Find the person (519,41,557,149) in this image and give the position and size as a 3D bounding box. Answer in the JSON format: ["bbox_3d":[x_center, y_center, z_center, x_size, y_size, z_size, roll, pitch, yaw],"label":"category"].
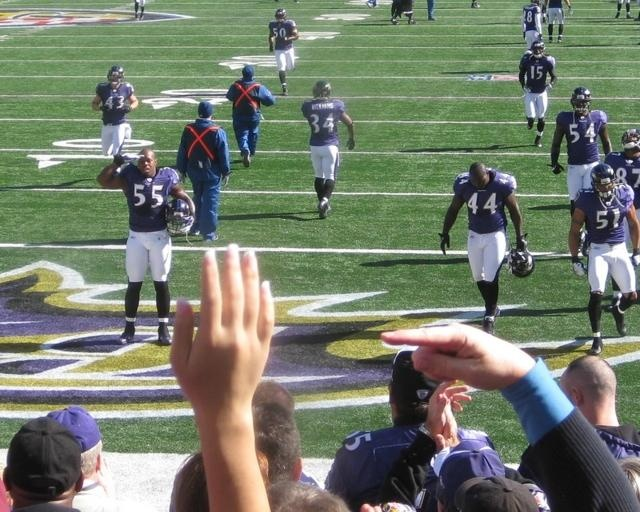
[{"bbox_3d":[3.806,-2.841,24.194,0.617,1.827,0.988,2,10,8],"label":"person"}]

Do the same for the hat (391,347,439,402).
[{"bbox_3d":[0.975,1.205,13.793,0.591,0.597,0.710,-3,1,-6],"label":"hat"}]

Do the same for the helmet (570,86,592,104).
[{"bbox_3d":[3.774,-2.312,20.009,0.252,0.231,0.307,7,14,19],"label":"helmet"}]

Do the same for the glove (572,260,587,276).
[{"bbox_3d":[3.328,0.164,17.615,0.096,0.146,0.197,-39,-8,-9],"label":"glove"}]

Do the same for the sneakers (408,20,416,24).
[{"bbox_3d":[2.587,-6.519,38.636,0.165,0.148,0.255,5,16,20],"label":"sneakers"}]

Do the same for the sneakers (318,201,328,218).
[{"bbox_3d":[0.071,-0.686,20.755,0.108,0.271,0.160,0,41,4],"label":"sneakers"}]

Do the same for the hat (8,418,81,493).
[{"bbox_3d":[-2.562,1.884,12.874,0.676,0.697,0.289,-1,10,-10],"label":"hat"}]

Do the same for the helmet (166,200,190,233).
[{"bbox_3d":[-1.749,-0.507,17.433,0.338,0.343,0.414,8,11,-4],"label":"helmet"}]

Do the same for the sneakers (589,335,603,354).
[{"bbox_3d":[3.377,1.095,16.832,0.102,0.119,0.287,0,11,24],"label":"sneakers"}]

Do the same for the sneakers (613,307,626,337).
[{"bbox_3d":[3.722,0.821,17.161,0.132,0.325,0.250,-14,8,13],"label":"sneakers"}]

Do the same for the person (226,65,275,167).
[{"bbox_3d":[-1.168,-2.366,23.498,0.748,1.694,1.233,0,9,-3],"label":"person"}]

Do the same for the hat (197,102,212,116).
[{"bbox_3d":[-1.642,-2.099,20.022,0.214,0.193,0.254,0,25,-8],"label":"hat"}]

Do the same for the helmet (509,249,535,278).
[{"bbox_3d":[2.583,0.125,17.687,0.320,0.305,0.350,-7,45,1],"label":"helmet"}]

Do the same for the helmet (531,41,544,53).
[{"bbox_3d":[3.795,-3.614,24.017,0.225,0.200,0.270,1,2,5],"label":"helmet"}]

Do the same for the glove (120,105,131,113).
[{"bbox_3d":[-3.175,-2.383,22.673,0.153,0.148,0.119,6,37,47],"label":"glove"}]

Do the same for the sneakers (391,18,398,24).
[{"bbox_3d":[2.151,-6.607,38.987,0.136,0.154,0.394,-2,14,-10],"label":"sneakers"}]

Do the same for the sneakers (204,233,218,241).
[{"bbox_3d":[-1.576,-0.273,20.165,0.078,0.089,0.214,6,16,21],"label":"sneakers"}]

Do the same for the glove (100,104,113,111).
[{"bbox_3d":[-3.442,-2.397,22.476,0.151,0.124,0.034,-6,38,9],"label":"glove"}]

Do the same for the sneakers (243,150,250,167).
[{"bbox_3d":[-1.206,-1.589,23.078,0.102,0.221,0.098,1,37,2],"label":"sneakers"}]

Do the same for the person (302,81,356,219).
[{"bbox_3d":[0.112,-1.623,21.092,0.706,2.050,1.211,1,10,5],"label":"person"}]

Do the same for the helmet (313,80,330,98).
[{"bbox_3d":[0.065,-2.529,21.058,0.262,0.247,0.303,-8,21,-20],"label":"helmet"}]

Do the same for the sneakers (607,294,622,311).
[{"bbox_3d":[3.697,0.579,17.197,0.111,0.254,0.087,30,-7,-36],"label":"sneakers"}]

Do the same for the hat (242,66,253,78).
[{"bbox_3d":[-1.175,-3.058,23.166,0.164,0.227,0.339,-1,9,-8],"label":"hat"}]

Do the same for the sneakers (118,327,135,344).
[{"bbox_3d":[-2.389,0.983,17.314,0.222,0.219,0.129,-4,11,-25],"label":"sneakers"}]
